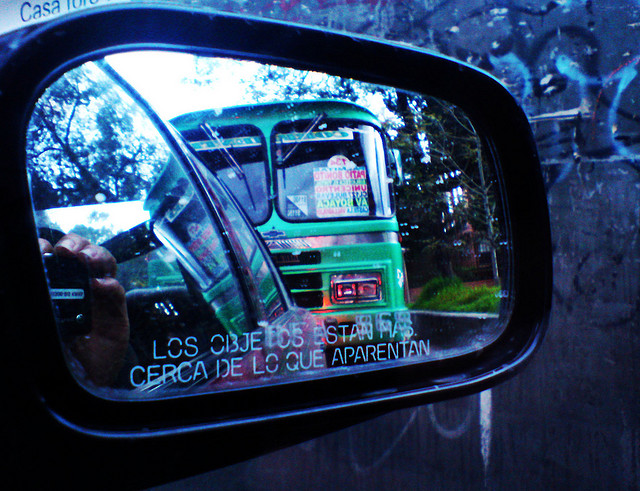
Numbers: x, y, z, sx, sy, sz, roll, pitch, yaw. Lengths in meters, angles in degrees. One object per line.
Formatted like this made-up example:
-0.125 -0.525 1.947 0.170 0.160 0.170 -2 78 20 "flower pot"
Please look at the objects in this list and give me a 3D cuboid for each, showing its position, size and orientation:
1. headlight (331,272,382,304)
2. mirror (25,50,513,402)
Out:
0.185 0.220 3.189 0.234 0.154 0.057 2 -9 -31 "headlight"
-0.035 -0.062 2.438 0.787 0.937 1.880 -2 1 31 "mirror"
